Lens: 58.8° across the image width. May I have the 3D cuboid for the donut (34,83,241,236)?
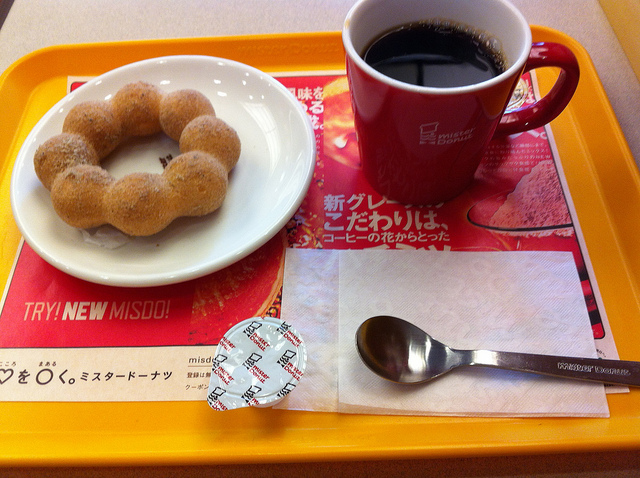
[{"bbox_3d":[-0.257,-0.114,0.827,0.235,0.064,0.236,-34,62,-28],"label":"donut"}]

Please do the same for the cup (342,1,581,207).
[{"bbox_3d":[0.167,-0.194,0.843,0.297,0.224,0.255,-5,64,2],"label":"cup"}]
